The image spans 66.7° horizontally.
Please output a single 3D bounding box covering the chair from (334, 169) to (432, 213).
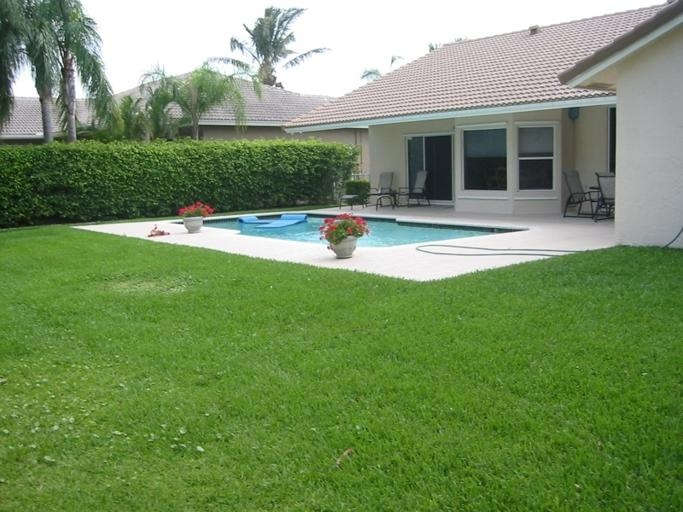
[{"bbox_3d":[1.698,-2.477,19.393,3.406,1.380,1.998,8,14,40],"label":"chair"}]

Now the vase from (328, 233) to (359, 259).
[{"bbox_3d":[0.043,-0.191,9.789,0.407,0.325,0.430,-1,7,21],"label":"vase"}]

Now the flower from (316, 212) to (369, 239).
[{"bbox_3d":[-0.037,-0.513,9.948,0.677,0.489,0.700,-6,12,-17],"label":"flower"}]

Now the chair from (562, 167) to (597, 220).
[{"bbox_3d":[6.534,-1.670,13.965,0.705,1.246,0.833,-10,9,-37],"label":"chair"}]

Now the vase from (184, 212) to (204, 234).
[{"bbox_3d":[-3.975,-0.866,13.914,0.437,0.344,0.460,1,5,25],"label":"vase"}]
